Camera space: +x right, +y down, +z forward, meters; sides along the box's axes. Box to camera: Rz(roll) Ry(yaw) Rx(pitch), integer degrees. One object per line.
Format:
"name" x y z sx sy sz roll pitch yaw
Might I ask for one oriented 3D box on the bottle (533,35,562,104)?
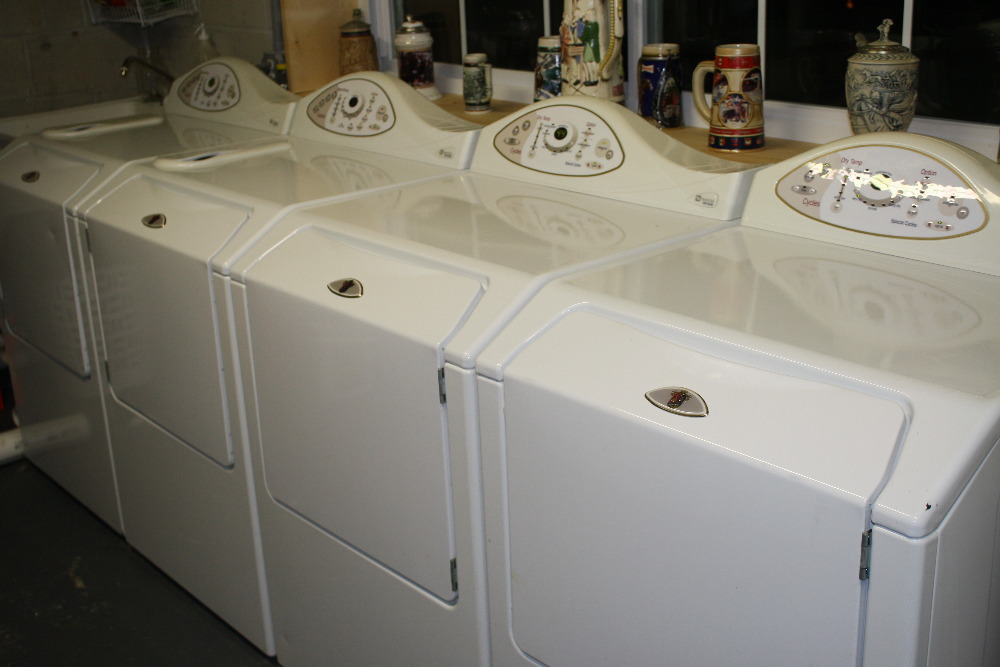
"bottle" 0.145 -0.786 2.204 0.064 0.179 0.103 0 24 -6

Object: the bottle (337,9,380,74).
"bottle" -0.514 -1.032 2.678 0.128 0.180 0.104 6 24 7
